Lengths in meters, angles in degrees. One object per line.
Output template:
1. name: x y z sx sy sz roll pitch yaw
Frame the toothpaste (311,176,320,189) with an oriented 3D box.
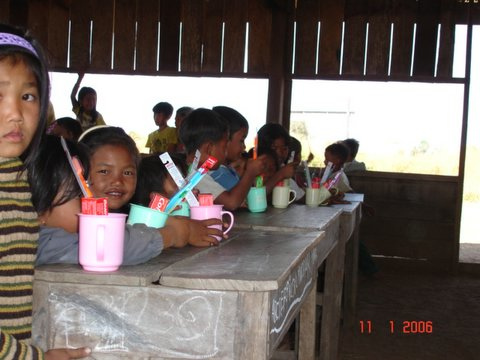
1. toothpaste: 0.484 0.019 3.084 0.056 0.076 0.080 0 -4 4

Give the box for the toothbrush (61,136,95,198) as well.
1. toothbrush: -0.470 -0.030 1.393 0.026 0.199 0.040 -26 -8 38

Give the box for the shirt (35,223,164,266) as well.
1. shirt: -0.377 0.149 1.290 0.222 0.092 0.141 1 0 5

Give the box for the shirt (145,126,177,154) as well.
1. shirt: -0.880 -0.440 5.396 0.403 0.331 0.160 -6 -12 23

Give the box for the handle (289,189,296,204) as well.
1. handle: 0.329 0.102 3.035 0.038 0.073 0.070 -17 20 -19

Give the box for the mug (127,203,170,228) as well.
1. mug: -0.278 0.111 1.441 0.082 0.062 0.082 23 -11 1

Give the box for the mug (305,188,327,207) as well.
1. mug: 0.473 0.113 3.019 0.119 0.107 0.077 6 -4 -1

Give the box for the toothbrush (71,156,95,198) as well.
1. toothbrush: -0.450 -0.008 1.367 0.017 0.133 0.033 -22 -8 16

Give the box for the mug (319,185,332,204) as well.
1. mug: 0.564 0.089 3.154 0.089 0.093 0.059 -9 1 -39

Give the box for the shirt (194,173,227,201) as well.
1. shirt: -0.160 0.030 2.317 0.133 0.189 0.049 -19 38 -35

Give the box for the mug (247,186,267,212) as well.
1. mug: 0.087 0.097 2.466 0.118 0.126 0.094 0 5 10

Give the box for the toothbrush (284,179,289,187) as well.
1. toothbrush: 0.272 0.016 2.831 0.033 0.058 0.036 2 4 14

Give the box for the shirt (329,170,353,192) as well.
1. shirt: 0.923 0.008 4.422 0.187 0.166 0.106 -21 -20 2

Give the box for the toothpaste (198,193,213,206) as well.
1. toothpaste: -0.118 0.068 1.657 0.041 0.035 0.042 1 -6 -5

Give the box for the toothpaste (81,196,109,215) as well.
1. toothpaste: -0.372 0.063 1.238 0.069 0.041 0.057 0 -3 7

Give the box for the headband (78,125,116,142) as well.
1. headband: -0.530 -0.184 1.781 0.118 0.058 0.243 3 12 -16

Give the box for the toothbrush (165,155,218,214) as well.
1. toothbrush: -0.171 0.028 1.561 0.027 0.268 0.053 44 10 25

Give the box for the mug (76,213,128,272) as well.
1. mug: -0.353 0.157 1.229 0.135 0.144 0.168 2 5 -18

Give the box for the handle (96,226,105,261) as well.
1. handle: -0.343 0.156 1.181 0.020 0.084 0.020 3 12 -11

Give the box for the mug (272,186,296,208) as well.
1. mug: 0.265 0.105 2.828 0.134 0.123 0.088 2 1 -5

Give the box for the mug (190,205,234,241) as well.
1. mug: -0.093 0.156 1.657 0.149 0.116 0.099 3 -5 -1

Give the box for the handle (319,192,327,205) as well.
1. handle: 0.545 0.116 3.129 0.040 0.072 0.070 16 5 35

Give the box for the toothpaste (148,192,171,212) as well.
1. toothpaste: -0.245 0.060 1.526 0.054 0.054 0.084 31 4 1

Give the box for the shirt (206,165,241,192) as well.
1. shirt: -0.098 -0.019 2.633 0.162 0.061 0.121 30 12 21
